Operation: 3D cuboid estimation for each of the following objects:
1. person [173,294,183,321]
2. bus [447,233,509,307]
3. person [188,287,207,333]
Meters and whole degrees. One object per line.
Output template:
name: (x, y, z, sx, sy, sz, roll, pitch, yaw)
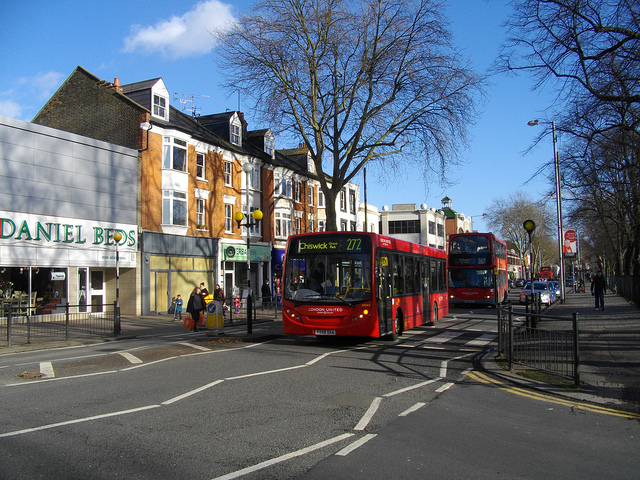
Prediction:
person: (-7.076, 3.402, 29.174, 0.397, 1.177, 1.298, 0, 1, -16)
bus: (9.755, 2.163, 38.304, 3.264, 5.243, 9.700, -2, -7, 22)
person: (-4.957, 2.842, 23.520, 0.694, 1.649, 1.217, 0, 2, -12)
